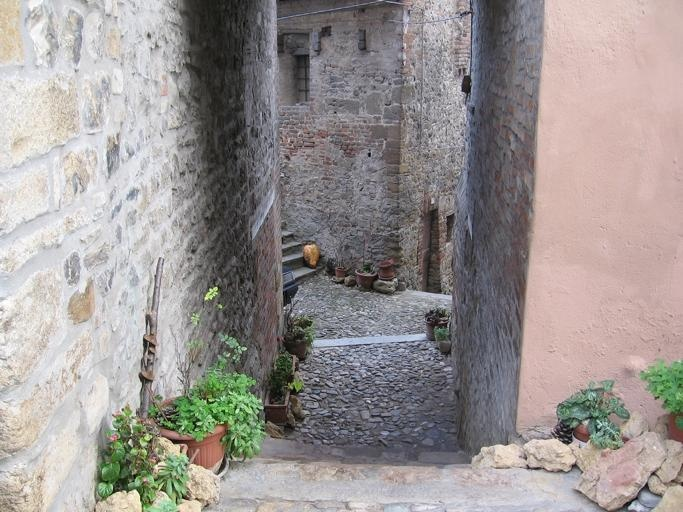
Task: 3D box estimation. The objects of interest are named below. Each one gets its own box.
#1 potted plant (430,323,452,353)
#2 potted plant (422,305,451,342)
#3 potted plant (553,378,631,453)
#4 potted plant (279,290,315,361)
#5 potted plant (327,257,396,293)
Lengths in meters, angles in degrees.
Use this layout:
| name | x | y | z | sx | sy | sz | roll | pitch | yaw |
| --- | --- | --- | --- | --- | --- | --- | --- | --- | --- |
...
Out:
| name | x | y | z | sx | sy | sz | roll | pitch | yaw |
| --- | --- | --- | --- | --- | --- | --- | --- | --- | --- |
| potted plant | 1.605 | 1.176 | 7.983 | 0.248 | 0.280 | 0.683 | -2 | 8 | 1 |
| potted plant | 1.602 | 1.131 | 8.490 | 0.444 | 0.552 | 0.443 | 2 | 8 | -7 |
| potted plant | 1.347 | 0.854 | 2.697 | 0.339 | 0.349 | 0.268 | 11 | 18 | 38 |
| potted plant | -0.763 | 1.072 | 8.082 | 0.606 | 1.175 | 0.822 | -1 | 14 | -25 |
| potted plant | 0.556 | 0.389 | 11.019 | 1.372 | 0.643 | 0.581 | 6 | 15 | 21 |
